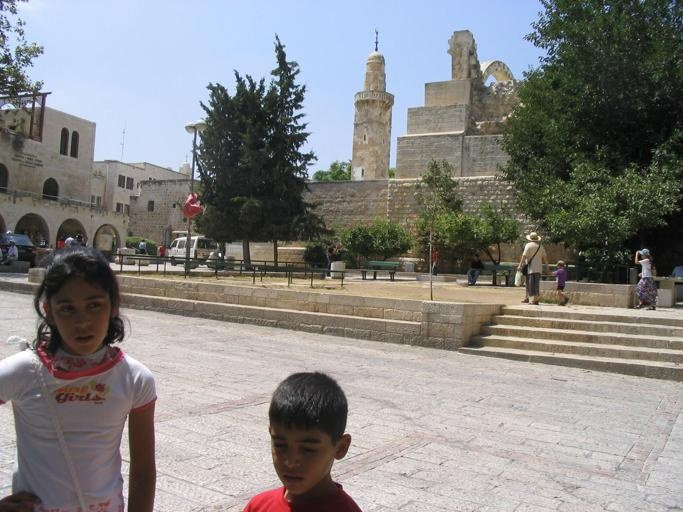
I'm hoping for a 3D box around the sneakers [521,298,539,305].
[{"bbox_3d":[4.271,1.031,13.052,0.136,0.180,0.425,2,-9,-12],"label":"sneakers"}]

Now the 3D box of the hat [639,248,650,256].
[{"bbox_3d":[7.850,-0.101,15.016,0.201,0.177,0.327,10,-8,41],"label":"hat"}]

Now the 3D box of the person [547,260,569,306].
[{"bbox_3d":[5.034,0.606,13.263,0.347,0.995,1.099,2,0,20],"label":"person"}]

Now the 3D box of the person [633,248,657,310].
[{"bbox_3d":[7.163,0.504,13.603,0.412,1.365,2.284,2,0,28],"label":"person"}]

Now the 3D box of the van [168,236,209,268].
[{"bbox_3d":[-8.008,-0.144,30.039,2.086,1.318,1.226,-3,-11,31],"label":"van"}]

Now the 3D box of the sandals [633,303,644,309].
[{"bbox_3d":[6.668,1.133,13.049,0.270,0.120,0.103,-1,-5,35],"label":"sandals"}]

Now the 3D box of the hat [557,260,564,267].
[{"bbox_3d":[5.957,0.198,15.743,0.121,0.163,0.155,5,24,11],"label":"hat"}]

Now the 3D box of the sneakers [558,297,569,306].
[{"bbox_3d":[5.047,1.012,13.118,0.202,0.183,0.471,2,0,21],"label":"sneakers"}]

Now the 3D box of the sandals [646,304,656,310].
[{"bbox_3d":[6.943,1.139,13.002,0.100,0.132,0.315,1,2,-19],"label":"sandals"}]
